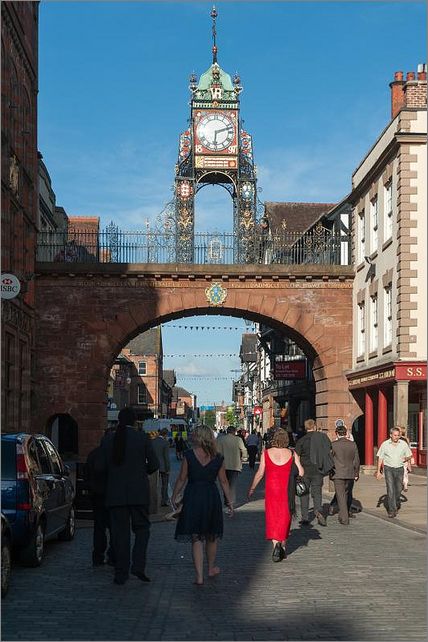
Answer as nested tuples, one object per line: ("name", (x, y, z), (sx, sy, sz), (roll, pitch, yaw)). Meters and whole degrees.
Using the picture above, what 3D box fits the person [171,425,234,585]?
("person", (-0.145, 1.768, 9.457), (0.478, 1.496, 0.748), (-1, -2, 13))

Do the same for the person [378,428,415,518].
("person", (2.905, 2.447, 15.754), (0.511, 1.427, 0.706), (-2, -2, 27))

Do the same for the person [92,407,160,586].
("person", (-0.869, 1.713, 9.571), (0.601, 1.679, 0.986), (0, -2, -9))

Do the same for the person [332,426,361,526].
("person", (2.005, 2.330, 14.683), (0.384, 1.570, 1.552), (-1, -2, 8))

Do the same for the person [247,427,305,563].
("person", (0.715, 1.888, 10.863), (0.582, 1.599, 0.464), (-7, 16, -20))
